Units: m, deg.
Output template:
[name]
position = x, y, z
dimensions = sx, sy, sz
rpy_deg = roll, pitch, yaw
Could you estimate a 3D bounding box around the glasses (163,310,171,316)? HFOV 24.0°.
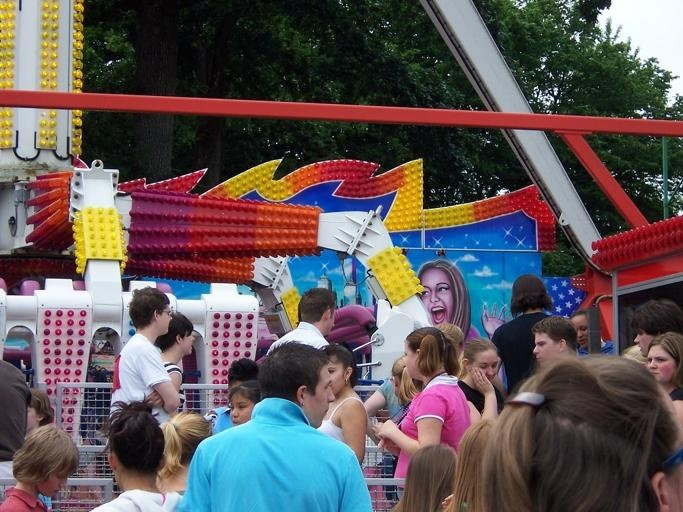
[glasses]
position = -2.393, 0.813, 21.798
dimensions = 0.089, 0.088, 0.028
rpy_deg = 2, 21, -4
